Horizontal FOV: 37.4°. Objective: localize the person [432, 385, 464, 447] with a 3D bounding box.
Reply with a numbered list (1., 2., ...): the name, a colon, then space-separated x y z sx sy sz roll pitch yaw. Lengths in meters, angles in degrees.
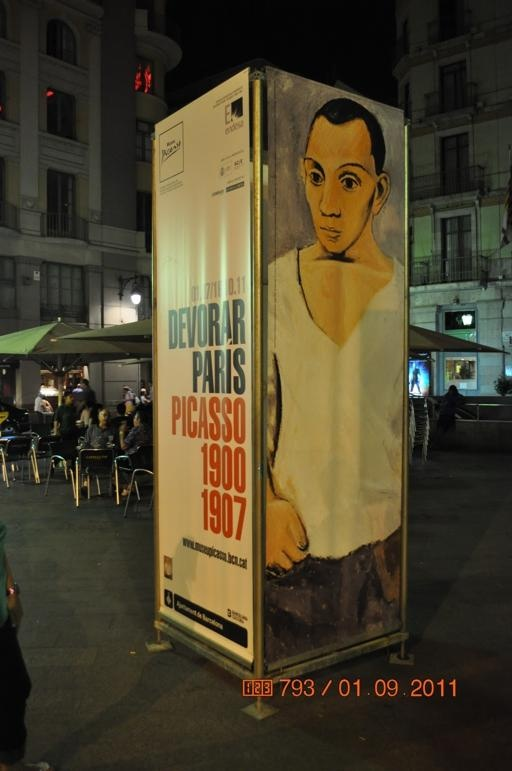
1. person: 4.514 0.788 18.063 0.634 1.036 0.729 0 0 30
